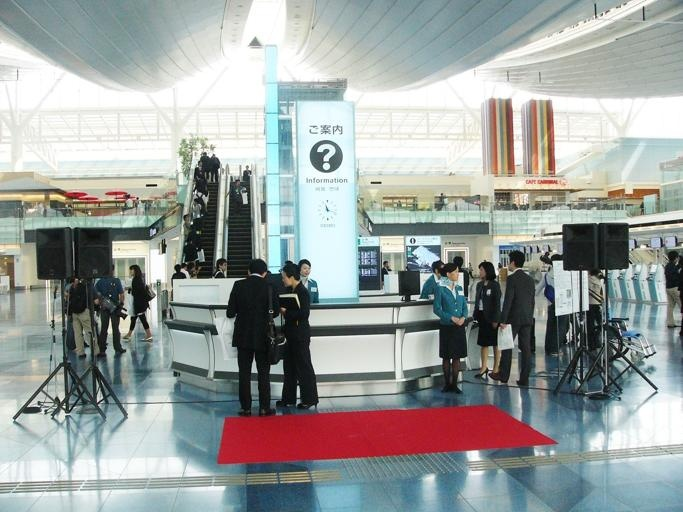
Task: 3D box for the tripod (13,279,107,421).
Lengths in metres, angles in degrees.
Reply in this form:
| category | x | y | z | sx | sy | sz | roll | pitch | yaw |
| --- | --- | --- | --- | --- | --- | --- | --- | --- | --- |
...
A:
| category | x | y | z | sx | sy | sz | roll | pitch | yaw |
| --- | --- | --- | --- | --- | --- | --- | --- | --- | --- |
| tripod | -4.145 | 1.268 | 8.237 | 1.021 | 1.733 | 2.249 | -3 | 4 | -30 |

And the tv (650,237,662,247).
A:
| category | x | y | z | sx | sy | sz | roll | pitch | yaw |
| --- | --- | --- | --- | --- | --- | --- | --- | --- | --- |
| tv | 12.206 | -0.553 | 22.097 | 0.163 | 0.318 | 0.312 | 15 | -16 | -33 |

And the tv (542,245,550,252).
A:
| category | x | y | z | sx | sy | sz | roll | pitch | yaw |
| --- | --- | --- | --- | --- | --- | --- | --- | --- | --- |
| tv | 10.062 | -0.411 | 28.066 | 0.142 | 0.313 | 0.300 | 2 | -3 | -21 |

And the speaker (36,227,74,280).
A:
| category | x | y | z | sx | sy | sz | roll | pitch | yaw |
| --- | --- | --- | --- | --- | --- | --- | --- | --- | --- |
| speaker | -4.037 | -0.045 | 8.001 | 0.452 | 0.685 | 0.229 | -2 | 3 | -20 |

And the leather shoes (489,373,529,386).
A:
| category | x | y | z | sx | sy | sz | roll | pitch | yaw |
| --- | --- | --- | --- | --- | --- | --- | --- | --- | --- |
| leather shoes | 2.646 | 1.921 | 8.983 | 0.598 | 0.169 | 0.288 | 0 | 4 | 25 |

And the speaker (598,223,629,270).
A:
| category | x | y | z | sx | sy | sz | roll | pitch | yaw |
| --- | --- | --- | --- | --- | --- | --- | --- | --- | --- |
| speaker | 4.000 | -0.148 | 8.305 | 0.479 | 0.670 | 0.294 | -1 | 3 | 3 |

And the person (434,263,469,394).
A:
| category | x | y | z | sx | sy | sz | roll | pitch | yaw |
| --- | --- | --- | --- | --- | --- | --- | --- | --- | --- |
| person | 1.624 | 1.068 | 8.495 | 0.472 | 1.916 | 0.278 | -1 | 3 | 10 |

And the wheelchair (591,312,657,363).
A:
| category | x | y | z | sx | sy | sz | roll | pitch | yaw |
| --- | --- | --- | --- | --- | --- | --- | --- | --- | --- |
| wheelchair | 4.981 | 1.356 | 10.001 | 0.777 | 0.734 | 0.467 | -6 | -5 | 21 |

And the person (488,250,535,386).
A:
| category | x | y | z | sx | sy | sz | roll | pitch | yaw |
| --- | --- | --- | --- | --- | --- | --- | --- | --- | --- |
| person | 2.786 | 0.941 | 9.206 | 0.626 | 2.085 | 0.933 | 0 | 3 | 21 |

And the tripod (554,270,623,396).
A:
| category | x | y | z | sx | sy | sz | roll | pitch | yaw |
| --- | --- | --- | --- | --- | --- | --- | --- | --- | --- |
| tripod | 4.188 | 1.052 | 9.513 | 0.859 | 1.863 | 3.171 | 0 | 4 | 26 |

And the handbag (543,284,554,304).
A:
| category | x | y | z | sx | sy | sz | roll | pitch | yaw |
| --- | --- | --- | --- | --- | --- | --- | --- | --- | --- |
| handbag | 4.030 | 0.745 | 11.070 | 0.170 | 0.413 | 0.549 | 0 | 4 | 19 |

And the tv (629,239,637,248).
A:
| category | x | y | z | sx | sy | sz | roll | pitch | yaw |
| --- | --- | --- | --- | --- | --- | --- | --- | --- | --- |
| tv | 11.682 | -0.518 | 22.844 | 0.351 | 0.378 | 0.197 | -1 | -3 | -3 |

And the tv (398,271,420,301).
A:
| category | x | y | z | sx | sy | sz | roll | pitch | yaw |
| --- | --- | --- | --- | --- | --- | --- | --- | --- | --- |
| tv | 1.214 | 0.515 | 10.171 | 0.480 | 0.722 | 0.241 | 1 | -6 | -14 |

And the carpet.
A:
| category | x | y | z | sx | sy | sz | roll | pitch | yaw |
| --- | --- | --- | --- | --- | --- | --- | --- | --- | --- |
| carpet | 0.761 | 2.434 | 8.081 | 3.174 | 0.049 | 6.016 | -6 | -12 | 2 |

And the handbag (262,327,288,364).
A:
| category | x | y | z | sx | sy | sz | roll | pitch | yaw |
| --- | --- | --- | --- | --- | --- | --- | --- | --- | --- |
| handbag | -0.911 | 1.182 | 7.632 | 0.225 | 0.623 | 0.515 | 1 | -1 | 6 |

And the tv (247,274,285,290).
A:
| category | x | y | z | sx | sy | sz | roll | pitch | yaw |
| --- | --- | --- | --- | --- | --- | --- | --- | --- | --- |
| tv | -1.104 | 0.369 | 8.224 | 0.155 | 0.210 | 0.298 | -4 | -2 | 28 |
